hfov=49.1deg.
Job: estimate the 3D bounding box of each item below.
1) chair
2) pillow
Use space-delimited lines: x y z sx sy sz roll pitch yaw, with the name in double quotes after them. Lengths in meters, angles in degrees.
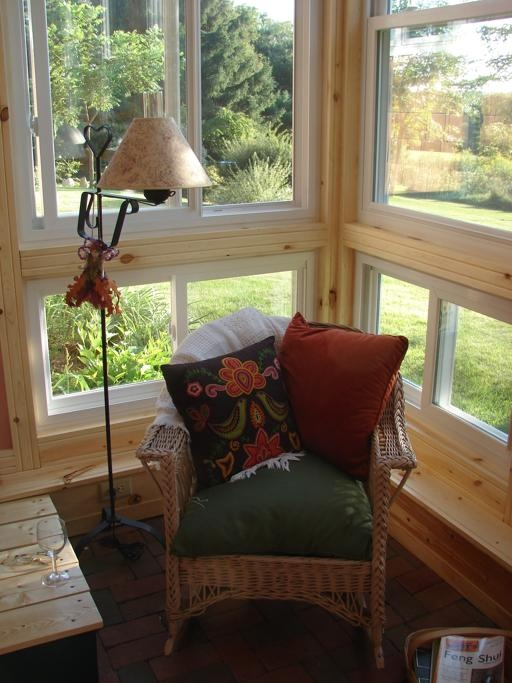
0.099 0.424 1.636 0.731 0.775 0.633 0 1 20 "chair"
0.047 0.225 1.572 0.499 0.414 0.525 1 17 2 "pillow"
